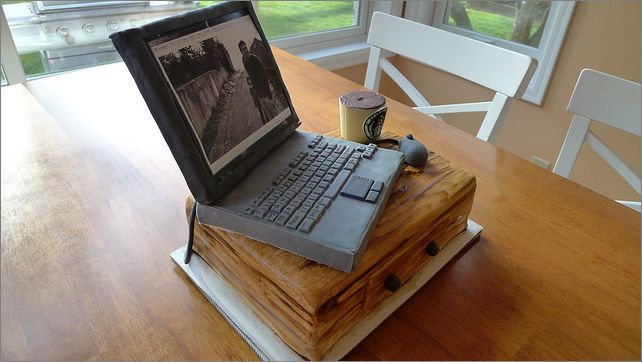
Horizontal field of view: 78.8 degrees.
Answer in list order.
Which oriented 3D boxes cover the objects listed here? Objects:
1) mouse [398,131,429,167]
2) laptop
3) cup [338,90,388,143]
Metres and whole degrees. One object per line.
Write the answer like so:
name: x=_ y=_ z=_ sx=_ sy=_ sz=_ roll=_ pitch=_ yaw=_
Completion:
mouse: x=0.248 y=-0.090 z=1.019 sx=0.073 sy=0.043 sz=0.099 roll=-5 pitch=35 yaw=-14
laptop: x=-0.158 y=-0.127 z=1.040 sx=0.738 sy=0.505 sz=0.546 roll=20 pitch=44 yaw=18
cup: x=0.116 y=-0.177 z=1.121 sx=0.148 sy=0.101 sz=0.137 roll=-2 pitch=37 yaw=1
